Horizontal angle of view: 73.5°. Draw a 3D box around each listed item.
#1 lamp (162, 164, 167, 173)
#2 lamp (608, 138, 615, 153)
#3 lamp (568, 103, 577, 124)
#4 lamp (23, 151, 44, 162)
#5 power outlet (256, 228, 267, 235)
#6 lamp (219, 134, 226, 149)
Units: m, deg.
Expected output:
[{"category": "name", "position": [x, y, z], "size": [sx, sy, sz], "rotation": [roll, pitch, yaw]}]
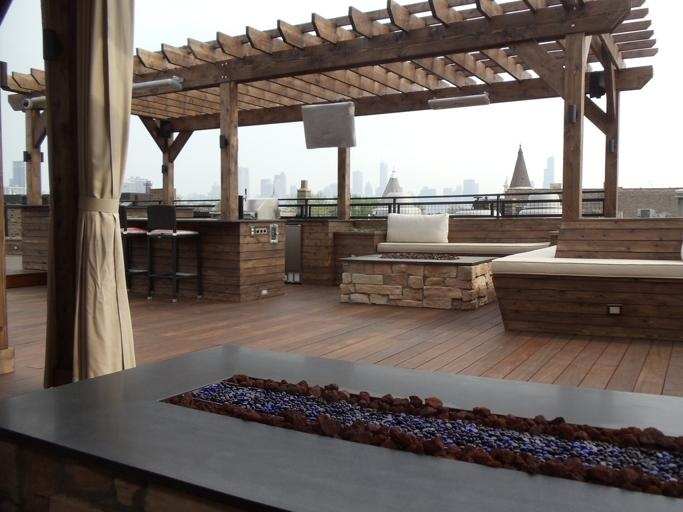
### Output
[{"category": "lamp", "position": [-4.240, -2.056, 10.860], "size": [0.187, 0.252, 0.062], "rotation": [2, 3, 37]}, {"category": "lamp", "position": [4.205, -1.721, 7.126], "size": [0.165, 0.201, 0.049], "rotation": [1, 4, -1]}, {"category": "lamp", "position": [2.559, -1.570, 5.037], "size": [0.101, 0.213, 0.051], "rotation": [1, 3, 7]}, {"category": "lamp", "position": [-6.199, -1.985, 9.175], "size": [0.407, 0.254, 0.221], "rotation": [1, -5, 4]}, {"category": "power outlet", "position": [-1.114, -0.346, 6.334], "size": [0.030, 0.104, 0.224], "rotation": [2, 3, 26]}, {"category": "lamp", "position": [-1.676, -1.611, 6.445], "size": [0.149, 0.190, 0.048], "rotation": [2, 3, 38]}]
